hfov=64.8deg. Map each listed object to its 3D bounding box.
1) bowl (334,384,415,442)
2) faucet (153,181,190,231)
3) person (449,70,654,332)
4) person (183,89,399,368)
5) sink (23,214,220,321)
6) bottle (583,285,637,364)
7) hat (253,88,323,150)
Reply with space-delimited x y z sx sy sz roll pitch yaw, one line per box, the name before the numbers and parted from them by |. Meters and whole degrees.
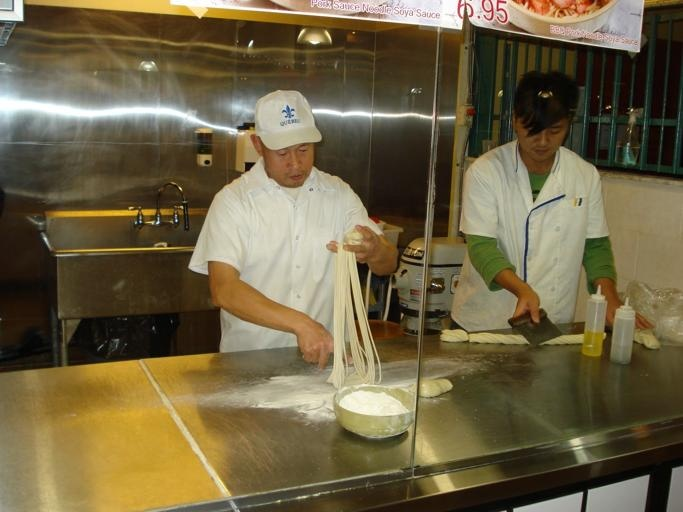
bowl | 0.080 0.393 1.391 0.133 0.063 0.136 0 4 0
faucet | -1.443 -0.371 4.602 0.290 0.474 0.291 -1 15 -29
person | 0.839 -0.137 2.293 0.594 1.288 0.577 5 15 -1
person | -0.185 -0.069 2.004 0.530 1.361 0.552 -1 7 -18
sink | -1.606 0.207 3.933 1.262 0.543 0.846 -3 8 -27
bottle | 0.954 0.200 1.933 0.118 0.338 0.126 2 3 0
hat | -0.200 -0.492 1.946 0.179 0.133 0.254 -12 26 -22
